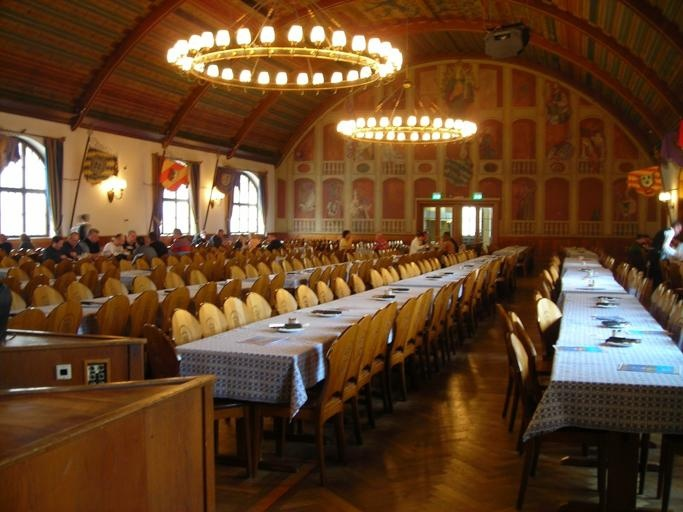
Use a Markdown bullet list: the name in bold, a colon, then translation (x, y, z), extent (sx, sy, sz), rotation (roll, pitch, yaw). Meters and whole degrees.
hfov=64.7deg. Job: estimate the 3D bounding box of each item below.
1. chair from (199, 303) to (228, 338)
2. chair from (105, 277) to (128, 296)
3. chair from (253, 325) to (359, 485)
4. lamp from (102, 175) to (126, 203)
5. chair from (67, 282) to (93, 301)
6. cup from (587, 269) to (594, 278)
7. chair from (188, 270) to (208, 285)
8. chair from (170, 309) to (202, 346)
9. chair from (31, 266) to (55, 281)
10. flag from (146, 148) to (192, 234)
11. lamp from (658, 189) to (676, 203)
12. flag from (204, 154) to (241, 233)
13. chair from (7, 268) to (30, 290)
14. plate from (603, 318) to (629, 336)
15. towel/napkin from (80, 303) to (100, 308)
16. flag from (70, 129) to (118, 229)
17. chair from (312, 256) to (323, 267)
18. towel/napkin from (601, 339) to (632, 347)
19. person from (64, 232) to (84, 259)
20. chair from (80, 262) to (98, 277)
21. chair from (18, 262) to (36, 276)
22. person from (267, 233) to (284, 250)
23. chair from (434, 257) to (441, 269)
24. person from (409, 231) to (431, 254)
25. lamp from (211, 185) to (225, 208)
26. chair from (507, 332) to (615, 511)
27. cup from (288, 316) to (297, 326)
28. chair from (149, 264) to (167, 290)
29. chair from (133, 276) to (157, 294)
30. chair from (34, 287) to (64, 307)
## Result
- **chair**: translation (-1.251, 0.617, 5.198), extent (0.117, 0.436, 0.158), rotation (-13, 32, -13)
- **chair**: translation (-3.371, 0.452, 8.020), extent (0.236, 0.341, 0.227), rotation (-1, 3, -42)
- **chair**: translation (-0.301, 1.157, 4.857), extent (0.996, 1.738, 1.014), rotation (0, -2, 18)
- **lamp**: translation (-7.777, -2.268, 18.253), extent (0.674, 1.103, 0.911), rotation (0, 2, 23)
- **chair**: translation (-3.541, 0.472, 7.256), extent (0.193, 0.283, 0.239), rotation (-1, -4, -42)
- **cup**: translation (4.704, 0.328, 10.189), extent (0.123, 0.095, 0.131), rotation (1, -1, 0)
- **chair**: translation (-2.579, 0.380, 9.612), extent (0.166, 0.246, 0.150), rotation (-16, 12, 22)
- **chair**: translation (-1.395, 0.630, 4.784), extent (0.097, 0.321, 0.175), rotation (3, 19, 36)
- **chair**: translation (-5.117, 0.291, 9.183), extent (0.200, 0.218, 0.228), rotation (-7, 0, -25)
- **flag**: translation (-6.454, -2.334, 20.768), extent (0.783, 3.050, 2.593), rotation (1, 4, 14)
- **lamp**: translation (10.938, -1.989, 18.012), extent (0.519, 0.333, 0.789), rotation (0, -1, 24)
- **flag**: translation (-5.242, -2.706, 23.150), extent (0.408, 3.195, 2.171), rotation (2, 4, 21)
- **chair**: translation (-5.060, 0.356, 8.410), extent (0.255, 0.402, 0.274), rotation (2, 1, 29)
- **plate**: translation (2.653, 0.668, 5.182), extent (0.183, 0.082, 0.198), rotation (-1, 3, 6)
- **towel/napkin**: translation (-2.996, 0.590, 6.435), extent (0.117, 0.031, 0.115), rotation (2, -1, 20)
- **flag**: translation (-7.935, -2.472, 17.385), extent (0.229, 2.980, 1.944), rotation (2, 5, 23)
- **chair**: translation (-0.658, 0.117, 14.058), extent (0.210, 0.166, 0.278), rotation (-1, 20, -29)
- **towel/napkin**: translation (2.265, 0.702, 4.404), extent (0.117, 0.038, 0.117), rotation (1, -1, -13)
- **person**: translation (-6.378, -0.272, 12.770), extent (0.409, 0.599, 0.822), rotation (-2, 4, -23)
- **chair**: translation (-4.477, 0.236, 9.513), extent (0.218, 0.224, 0.229), rotation (0, 6, -4)
- **chair**: translation (-5.732, 0.232, 9.817), extent (0.231, 0.228, 0.193), rotation (15, 7, 21)
- **person**: translation (-2.370, -0.524, 18.935), extent (0.321, 0.388, 1.037), rotation (-9, 6, -4)
- **chair**: translation (2.467, 0.184, 13.786), extent (0.217, 0.283, 0.290), rotation (-5, -2, 24)
- **person**: translation (2.456, -0.448, 17.020), extent (0.523, 0.648, 2.413), rotation (1, 4, 9)
- **lamp**: translation (-5.320, -2.596, 23.077), extent (0.193, 0.790, 1.123), rotation (1, 4, 14)
- **chair**: translation (1.498, 1.172, 4.269), extent (0.942, 1.658, 0.916), rotation (-1, 4, 13)
- **cup**: translation (-0.468, 0.617, 5.120), extent (0.066, 0.082, 0.069), rotation (1, 4, 0)
- **chair**: translation (-3.375, 0.353, 9.909), extent (0.150, 0.613, 0.297), rotation (19, 18, 40)
- **chair**: translation (-2.964, 0.431, 8.049), extent (0.235, 0.353, 0.232), rotation (-2, -2, 42)
- **chair**: translation (-3.659, 0.482, 6.688), extent (0.337, 0.237, 0.394), rotation (-2, 5, -31)
